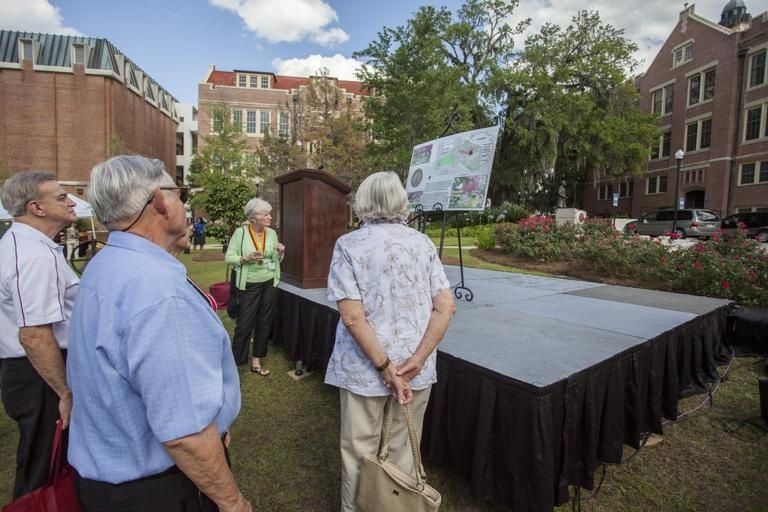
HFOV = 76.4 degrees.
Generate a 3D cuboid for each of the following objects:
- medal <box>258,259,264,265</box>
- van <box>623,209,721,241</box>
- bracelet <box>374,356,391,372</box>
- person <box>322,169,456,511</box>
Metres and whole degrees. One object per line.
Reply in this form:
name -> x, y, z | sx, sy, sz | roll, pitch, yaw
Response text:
medal -> -1.665, 0.085, 6.544 | 0.058, 0.063, 0.063 | 4, 6, -2
van -> 12.881, -1.359, 21.512 | 1.954, 1.689, 4.283 | 0, 7, -18
bracelet -> -0.014, 0.935, 4.174 | 0.040, 0.116, 0.114 | 30, 25, 14
person -> 0.006, 0.764, 4.336 | 1.055, 2.974, 0.505 | 1, 6, -7
